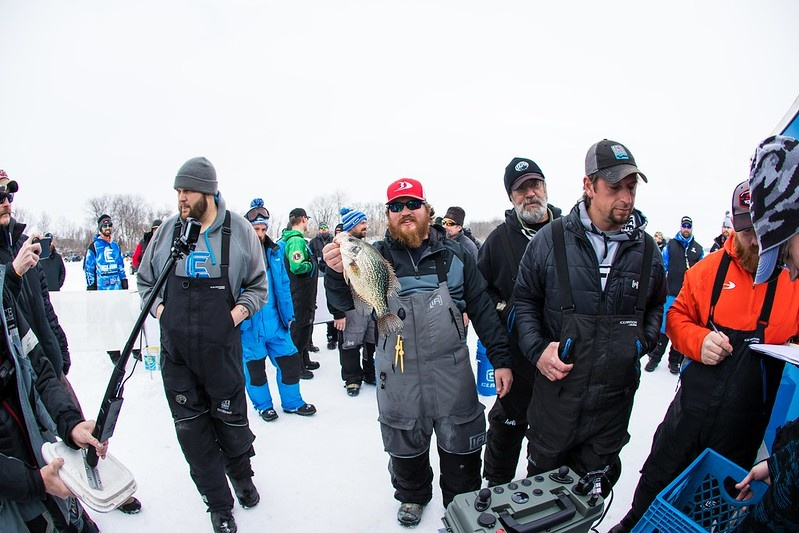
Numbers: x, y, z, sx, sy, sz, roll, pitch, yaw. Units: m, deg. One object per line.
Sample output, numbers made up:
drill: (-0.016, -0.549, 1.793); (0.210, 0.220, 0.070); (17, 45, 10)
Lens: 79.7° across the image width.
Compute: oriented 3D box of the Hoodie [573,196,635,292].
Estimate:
Hoodie: (1.502, -0.209, 3.610); (0.379, 0.574, 0.234); (10, 7, 16)

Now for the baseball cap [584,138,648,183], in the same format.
baseball cap: (1.656, -0.834, 3.729); (0.376, 0.345, 0.598); (-4, 10, -11)

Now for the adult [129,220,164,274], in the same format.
adult: (-4.521, -0.253, 8.384); (0.228, 0.746, 0.482); (8, -24, -27)

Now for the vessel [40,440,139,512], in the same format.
vessel: (-2.054, 1.393, 3.213); (0.592, 0.163, 0.353); (28, 14, 17)

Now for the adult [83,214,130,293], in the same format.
adult: (-5.876, 0.167, 9.666); (0.710, 2.311, 0.527); (-5, 5, -44)

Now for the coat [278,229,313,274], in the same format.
coat: (-1.433, -0.181, 6.524); (0.280, 0.406, 0.508); (-18, 22, -7)

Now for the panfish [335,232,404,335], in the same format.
panfish: (-0.257, 0.146, 3.996); (0.532, 0.851, 0.227); (-2, 7, -8)

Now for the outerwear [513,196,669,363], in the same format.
outerwear: (1.462, 0.158, 3.727); (1.282, 1.563, 0.847); (-2, 8, -2)
